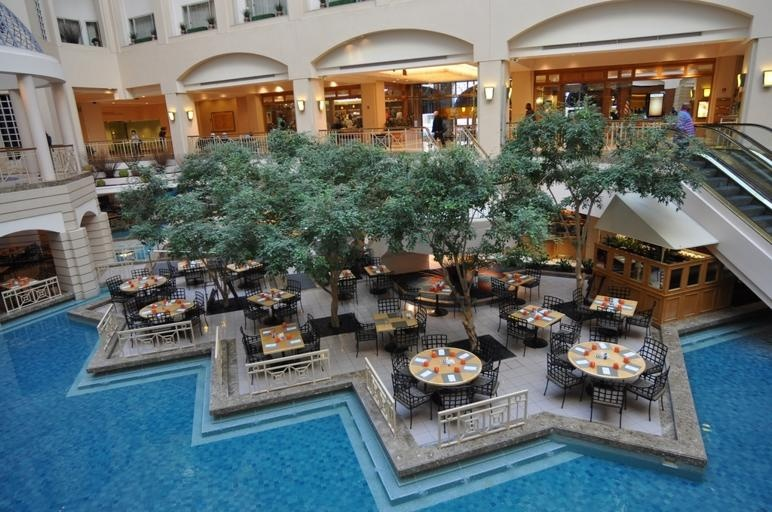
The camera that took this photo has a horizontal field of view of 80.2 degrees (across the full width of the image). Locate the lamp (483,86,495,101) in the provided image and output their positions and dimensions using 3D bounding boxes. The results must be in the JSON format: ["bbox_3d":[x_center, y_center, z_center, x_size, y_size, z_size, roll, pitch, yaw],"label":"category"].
[{"bbox_3d":[4.647,-7.303,20.635,0.479,0.615,0.244,4,23,14],"label":"lamp"}]

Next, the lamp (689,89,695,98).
[{"bbox_3d":[15.205,-8.044,22.727,0.118,0.529,0.375,-9,23,-17],"label":"lamp"}]

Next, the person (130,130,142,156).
[{"bbox_3d":[-15.939,-7.138,29.344,0.537,1.210,2.077,-13,24,-26],"label":"person"}]

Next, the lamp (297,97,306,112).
[{"bbox_3d":[-4.338,-8.077,24.490,0.679,0.691,0.568,-3,22,-2],"label":"lamp"}]

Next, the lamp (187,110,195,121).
[{"bbox_3d":[-11.921,-8.614,27.990,0.382,0.695,0.562,21,28,34],"label":"lamp"}]

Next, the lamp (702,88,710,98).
[{"bbox_3d":[15.440,-7.869,22.038,0.164,0.449,0.709,6,22,17],"label":"lamp"}]

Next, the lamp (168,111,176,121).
[{"bbox_3d":[-12.874,-8.427,27.756,0.491,0.554,0.483,2,-6,-8],"label":"lamp"}]
